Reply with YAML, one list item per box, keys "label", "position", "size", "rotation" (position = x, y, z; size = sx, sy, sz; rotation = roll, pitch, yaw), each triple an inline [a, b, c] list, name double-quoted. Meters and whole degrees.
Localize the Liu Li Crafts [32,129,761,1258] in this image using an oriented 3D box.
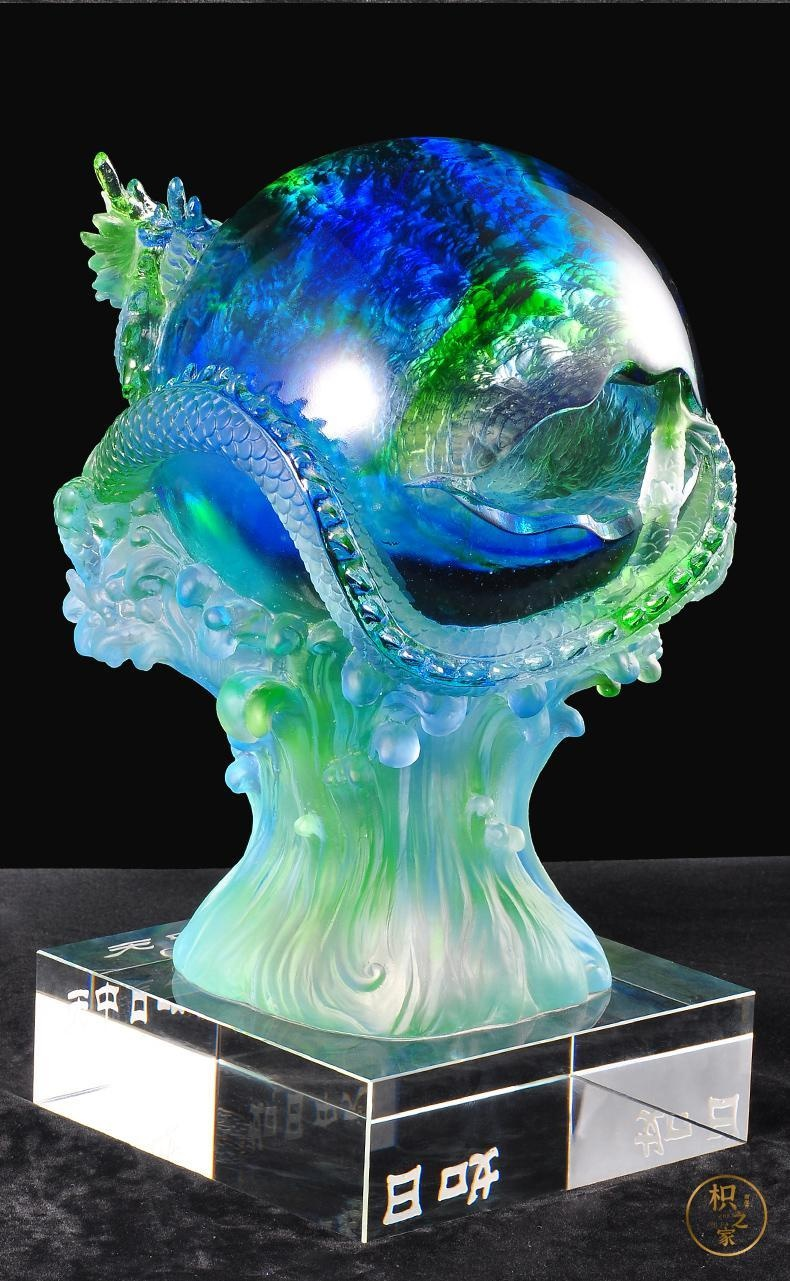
- label: "Liu Li Crafts"
  position: [-0.037, 0.012, 1.315]
  size: [0.663, 0.889, 0.445]
  rotation: [5, 10, 24]
